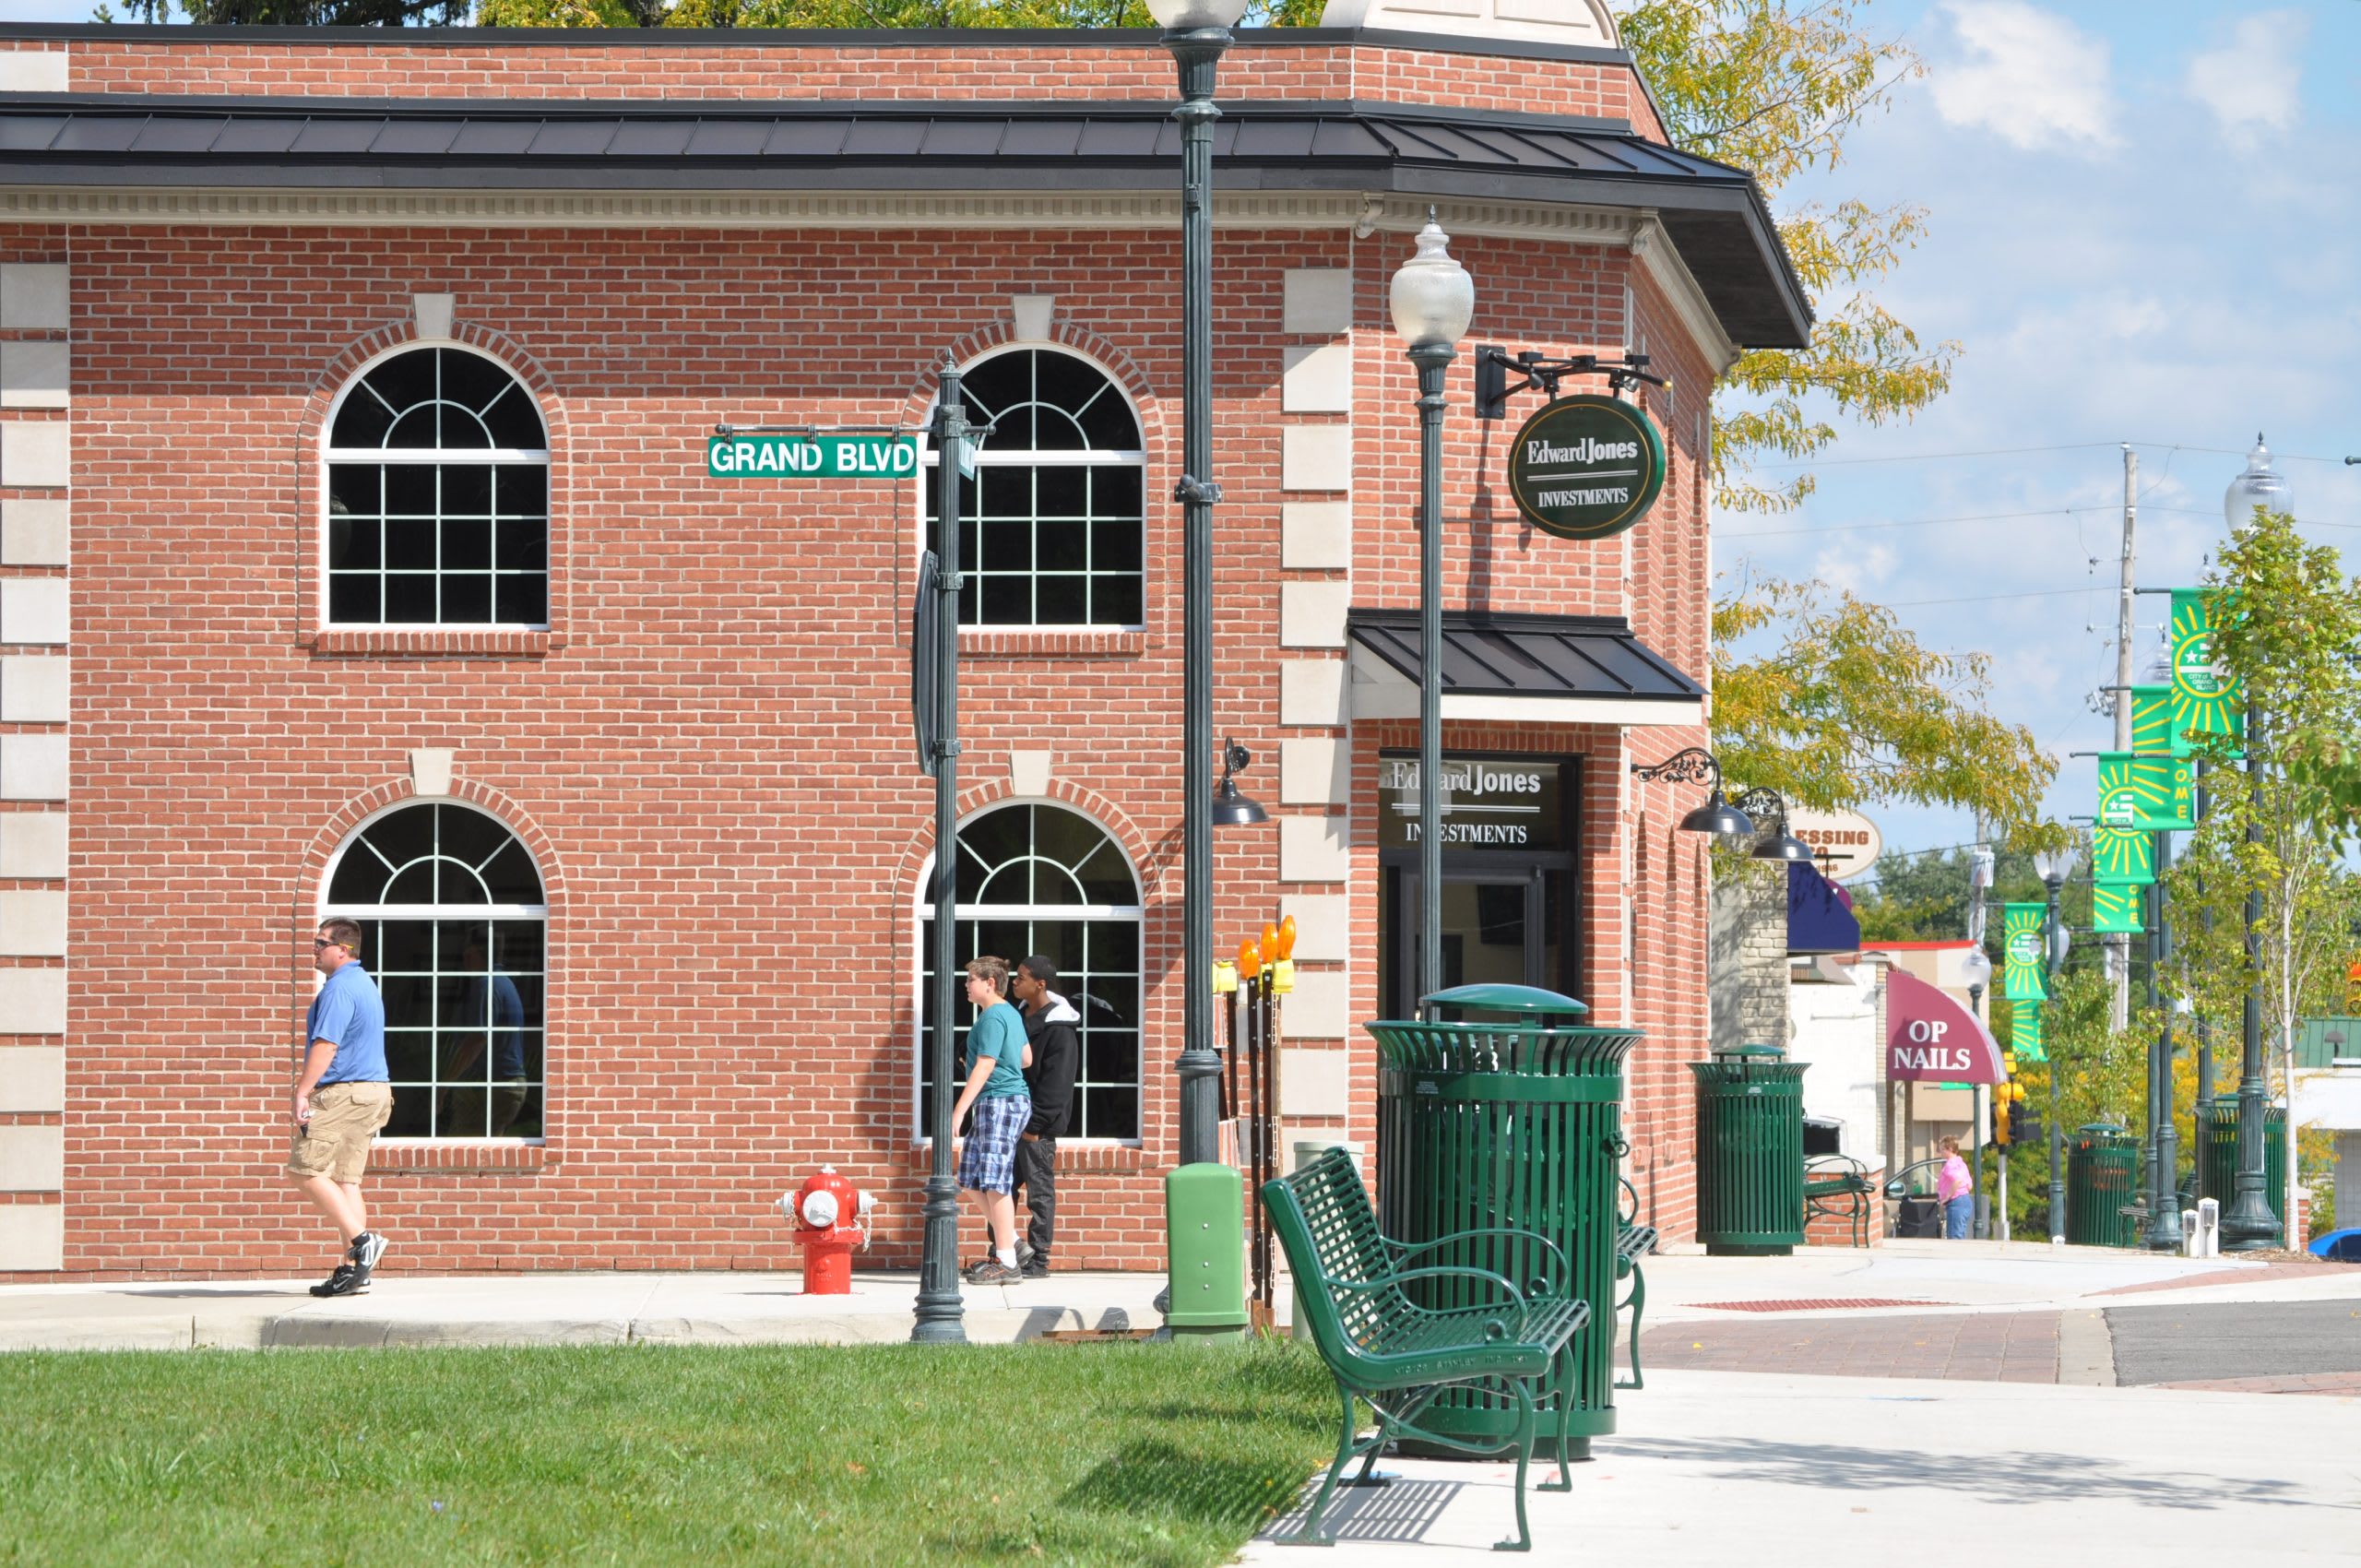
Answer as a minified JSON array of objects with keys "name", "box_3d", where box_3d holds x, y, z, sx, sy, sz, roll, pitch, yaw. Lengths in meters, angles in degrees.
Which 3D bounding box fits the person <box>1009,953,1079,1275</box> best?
[{"name":"person","box_3d":[-1.075,2.653,43.475,0.639,2.220,0.772,0,2,17]}]

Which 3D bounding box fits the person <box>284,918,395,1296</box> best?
[{"name":"person","box_3d":[-6.709,2.588,41.905,0.852,3.011,0.578,-2,6,-35]}]

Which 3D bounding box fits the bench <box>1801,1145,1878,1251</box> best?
[{"name":"bench","box_3d":[6.494,4.056,51.645,0.758,1.168,1.291,1,-3,17]}]

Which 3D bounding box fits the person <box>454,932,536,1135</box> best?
[{"name":"person","box_3d":[-5.796,2.059,44.754,0.697,1.746,0.358,0,5,-12]}]

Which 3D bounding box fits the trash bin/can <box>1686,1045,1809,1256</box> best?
[{"name":"trash bin/can","box_3d":[5.245,3.297,47.907,0.910,1.771,0.939,2,5,2]}]
